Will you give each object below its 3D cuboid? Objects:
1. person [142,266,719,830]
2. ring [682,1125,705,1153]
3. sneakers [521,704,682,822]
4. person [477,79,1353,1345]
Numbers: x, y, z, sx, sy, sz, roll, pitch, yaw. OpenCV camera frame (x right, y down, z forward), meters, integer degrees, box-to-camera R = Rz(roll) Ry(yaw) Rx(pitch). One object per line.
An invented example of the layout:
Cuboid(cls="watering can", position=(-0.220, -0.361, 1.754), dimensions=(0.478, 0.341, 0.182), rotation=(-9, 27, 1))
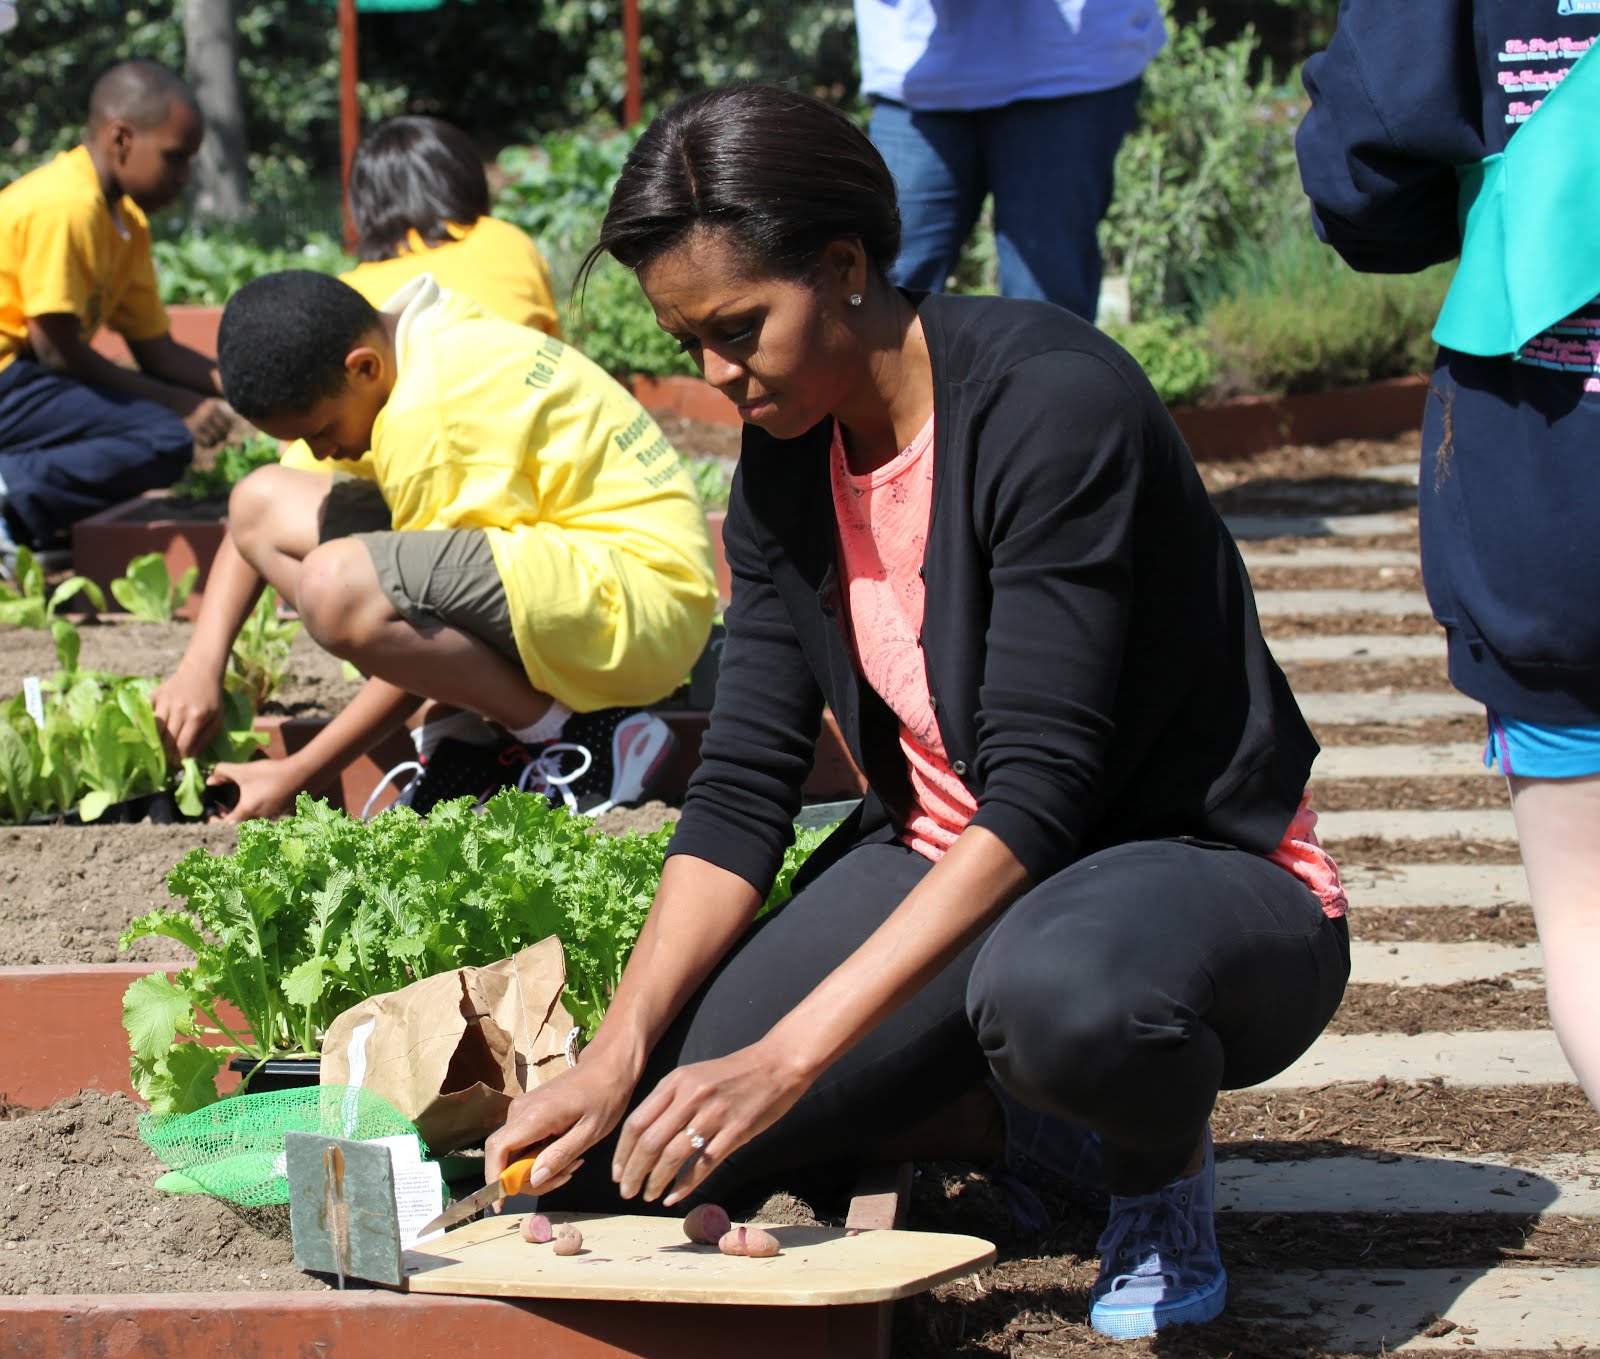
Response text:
Cuboid(cls="person", position=(-0.724, -0.392, 5.238), dimensions=(1.152, 1.166, 1.028), rotation=(-11, 19, -12))
Cuboid(cls="ring", position=(-0.142, 0.622, 3.288), dimensions=(0.023, 0.032, 0.009), rotation=(-5, 7, -4))
Cuboid(cls="sneakers", position=(-0.410, 0.172, 5.020), dimensions=(0.404, 0.182, 0.137), rotation=(-20, 13, 8))
Cuboid(cls="person", position=(0.299, 0.059, 3.662), dimensions=(1.013, 1.896, 1.116), rotation=(2, 8, 32))
